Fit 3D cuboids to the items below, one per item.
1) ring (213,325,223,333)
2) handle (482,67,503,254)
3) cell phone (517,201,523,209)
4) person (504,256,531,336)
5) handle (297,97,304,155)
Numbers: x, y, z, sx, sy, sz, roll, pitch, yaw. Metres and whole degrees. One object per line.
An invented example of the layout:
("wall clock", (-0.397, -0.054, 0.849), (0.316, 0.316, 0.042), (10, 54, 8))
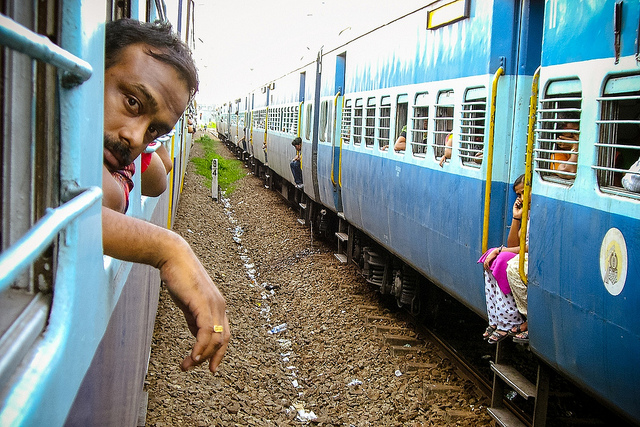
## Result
("ring", (-0.306, 0.348, 1.235), (0.029, 0.026, 0.016), (-9, 14, -25))
("handle", (1.907, -0.560, 4.527), (0.093, 1.998, 0.315), (5, 14, 31))
("cell phone", (2.064, -0.079, 4.215), (0.029, 0.096, 0.149), (1, 14, 19))
("person", (2.029, 0.866, 4.212), (0.193, 0.780, 0.241), (-13, 15, -39))
("handle", (-0.650, -3.024, 13.872), (0.138, 2.377, 0.183), (9, -25, -6))
